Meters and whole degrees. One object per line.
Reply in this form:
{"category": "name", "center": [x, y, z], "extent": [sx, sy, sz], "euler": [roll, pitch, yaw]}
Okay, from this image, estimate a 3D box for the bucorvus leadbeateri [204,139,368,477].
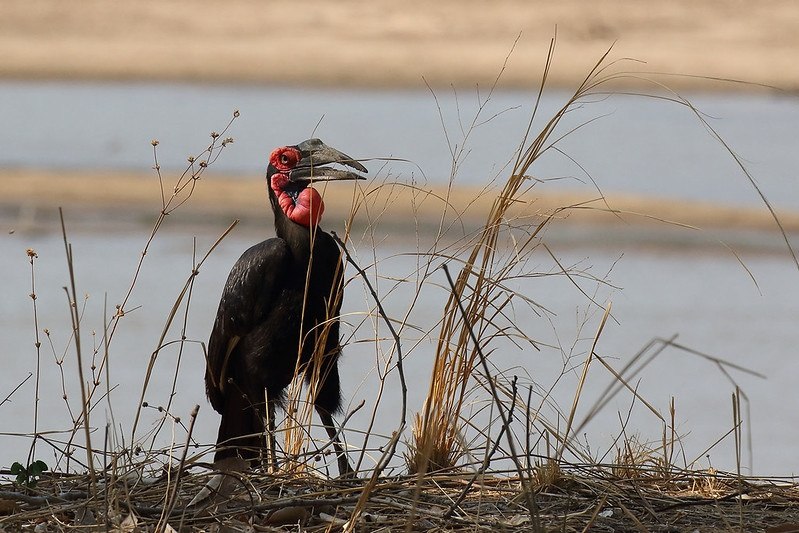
{"category": "bucorvus leadbeateri", "center": [-0.441, 0.162, 5.757], "extent": [0.655, 1.332, 0.871], "euler": [4, -3, -3]}
